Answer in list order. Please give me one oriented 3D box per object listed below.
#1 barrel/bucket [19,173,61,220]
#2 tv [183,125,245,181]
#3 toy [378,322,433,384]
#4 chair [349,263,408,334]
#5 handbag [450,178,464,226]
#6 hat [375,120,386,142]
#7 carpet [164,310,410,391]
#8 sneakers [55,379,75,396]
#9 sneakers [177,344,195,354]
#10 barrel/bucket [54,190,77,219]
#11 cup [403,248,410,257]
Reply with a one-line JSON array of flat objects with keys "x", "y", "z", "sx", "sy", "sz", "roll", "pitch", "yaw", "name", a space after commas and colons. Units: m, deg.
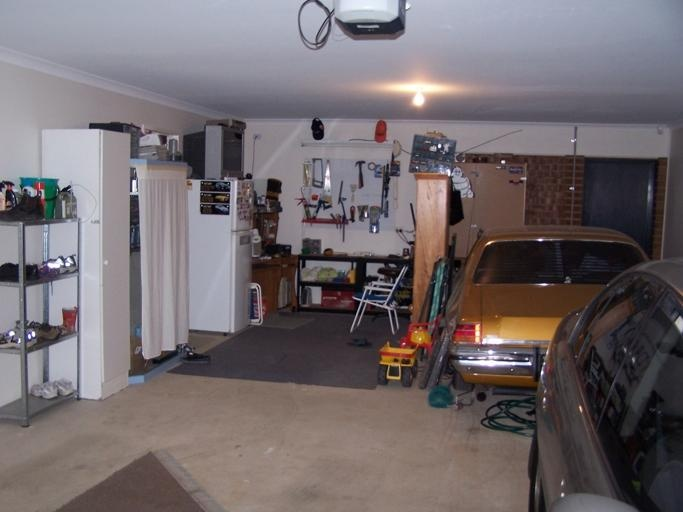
[{"x": -2.765, "y": -0.547, "z": 5.183, "sx": 0.385, "sy": 0.502, "sz": 0.351, "roll": -1, "pitch": -1, "yaw": 0, "name": "barrel/bucket"}, {"x": -1.979, "y": -1.590, "z": 8.311, "sx": 0.563, "sy": 0.965, "sz": 1.079, "roll": 1, "pitch": 6, "yaw": 9, "name": "tv"}, {"x": 0.806, "y": 1.064, "z": 6.219, "sx": 0.521, "sy": 0.659, "sz": 0.989, "roll": 5, "pitch": 10, "yaw": 27, "name": "toy"}, {"x": 0.597, "y": 0.656, "z": 8.363, "sx": 0.995, "sy": 1.484, "sz": 0.920, "roll": 4, "pitch": 2, "yaw": 7, "name": "chair"}, {"x": 1.824, "y": -0.866, "z": 8.695, "sx": 0.156, "sy": 0.724, "sz": 0.523, "roll": 6, "pitch": 10, "yaw": 29, "name": "handbag"}, {"x": 0.615, "y": -1.959, "z": 8.496, "sx": 0.186, "sy": 0.366, "sz": 0.122, "roll": 1, "pitch": 7, "yaw": 16, "name": "hat"}, {"x": -0.519, "y": 1.221, "z": 7.338, "sx": 2.307, "sy": 0.111, "sz": 2.878, "roll": 3, "pitch": 10, "yaw": 15, "name": "carpet"}, {"x": -2.747, "y": 1.314, "z": 5.474, "sx": 0.141, "sy": 0.162, "sz": 0.162, "roll": 1, "pitch": 2, "yaw": 10, "name": "sneakers"}, {"x": -1.902, "y": 1.153, "z": 6.718, "sx": 0.172, "sy": 0.066, "sz": 0.132, "roll": 3, "pitch": 6, "yaw": 11, "name": "sneakers"}, {"x": -2.666, "y": -0.509, "z": 5.311, "sx": 0.224, "sy": 0.417, "sz": 0.215, "roll": 2, "pitch": 0, "yaw": 0, "name": "barrel/bucket"}, {"x": 1.120, "y": -0.049, "z": 9.344, "sx": 0.122, "sy": 0.204, "sz": 0.136, "roll": 2, "pitch": 1, "yaw": 0, "name": "cup"}]
